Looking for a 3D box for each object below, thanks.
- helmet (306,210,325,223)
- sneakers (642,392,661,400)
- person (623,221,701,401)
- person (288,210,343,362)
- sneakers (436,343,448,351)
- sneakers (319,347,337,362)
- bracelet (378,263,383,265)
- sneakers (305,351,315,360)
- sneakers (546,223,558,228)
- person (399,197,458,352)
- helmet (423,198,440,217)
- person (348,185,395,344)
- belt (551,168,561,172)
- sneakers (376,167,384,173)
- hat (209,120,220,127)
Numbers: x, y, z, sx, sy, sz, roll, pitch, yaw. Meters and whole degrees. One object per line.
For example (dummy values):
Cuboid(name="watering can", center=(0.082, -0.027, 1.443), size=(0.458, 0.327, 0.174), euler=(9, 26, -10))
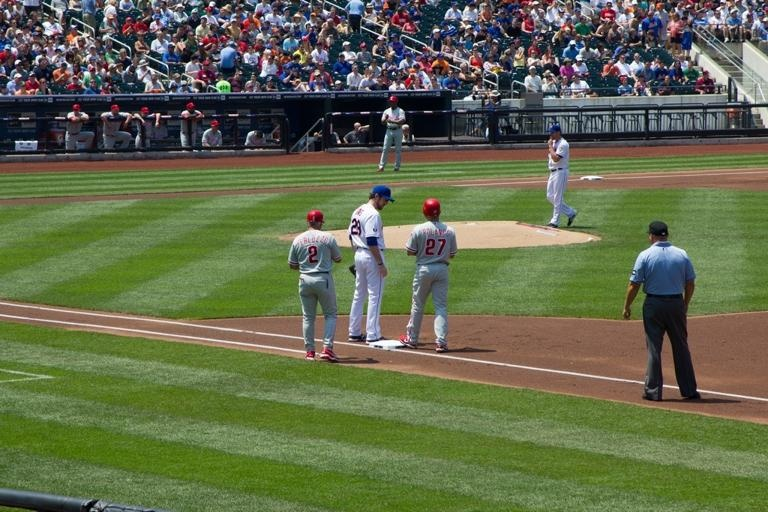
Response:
Cuboid(name="helmet", center=(-1.438, -0.782, 33.237), size=(0.299, 0.181, 0.366), euler=(5, 20, 6))
Cuboid(name="sneakers", center=(5.149, 2.682, 31.738), size=(0.162, 0.225, 0.275), euler=(-6, 14, -39))
Cuboid(name="person", center=(5.411, 1.054, 31.832), size=(1.358, 3.390, 0.752), euler=(-1, 7, 6))
Cuboid(name="person", center=(-1.430, 0.572, 33.188), size=(1.002, 2.943, 0.972), euler=(-2, 7, -3))
Cuboid(name="sneakers", center=(1.152, 1.859, 33.503), size=(0.254, 0.163, 0.170), euler=(-1, 6, -3))
Cuboid(name="sneakers", center=(-1.150, 1.972, 33.008), size=(0.482, 0.189, 0.182), euler=(13, -3, -28))
Cuboid(name="bracelet", center=(-0.117, 0.163, 33.595), size=(0.077, 0.045, 0.067), euler=(-1, 12, -7))
Cuboid(name="sneakers", center=(-1.526, 1.984, 32.939), size=(0.231, 0.176, 0.131), euler=(-1, 4, -13))
Cuboid(name="sneakers", center=(4.130, -0.757, 40.799), size=(0.261, 0.087, 0.088), euler=(12, 3, 10))
Cuboid(name="person", center=(0.882, 0.377, 33.795), size=(1.121, 3.065, 1.144), euler=(-1, 7, 0))
Cuboid(name="helmet", center=(0.932, -0.982, 33.681), size=(0.425, 0.399, 0.415), euler=(2, 32, -5))
Cuboid(name="person", center=(-0.384, 0.168, 33.763), size=(0.874, 3.207, 0.432), euler=(2, 8, 27))
Cuboid(name="belt", center=(4.200, -2.113, 40.602), size=(0.232, 0.094, 0.083), euler=(0, 7, 12))
Cuboid(name="sneakers", center=(-0.197, -2.595, 49.941), size=(0.267, 0.203, 0.542), euler=(-1, 4, -10))
Cuboid(name="hat", center=(-5.629, -4.292, 53.687), size=(0.199, 0.105, 0.231), euler=(5, 16, 24))
